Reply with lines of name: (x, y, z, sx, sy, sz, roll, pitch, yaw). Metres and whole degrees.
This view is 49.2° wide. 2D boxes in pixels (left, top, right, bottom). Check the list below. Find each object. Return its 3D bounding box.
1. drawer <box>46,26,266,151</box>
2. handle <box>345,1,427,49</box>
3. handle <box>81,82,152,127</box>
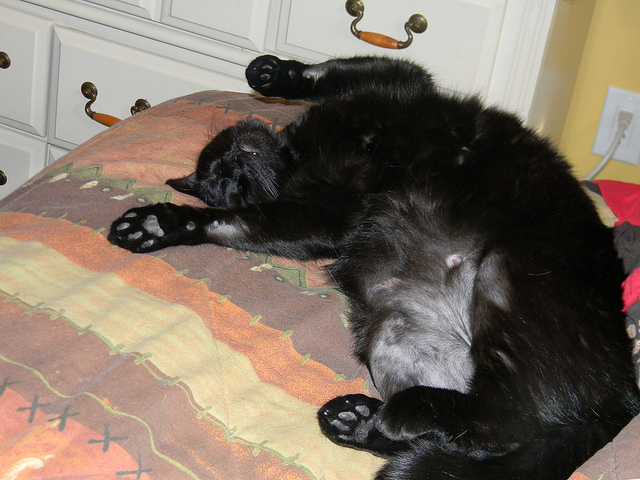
drawer: (-0.533, -0.359, 2.271, 0.547, 0.280, 0.270, 18, -1, 14)
handle: (0.191, -0.598, 1.929, 0.191, 0.083, 0.058, 16, -26, 13)
handle: (-0.637, -0.384, 2.129, 0.228, 0.074, 0.060, 2, -17, 26)
